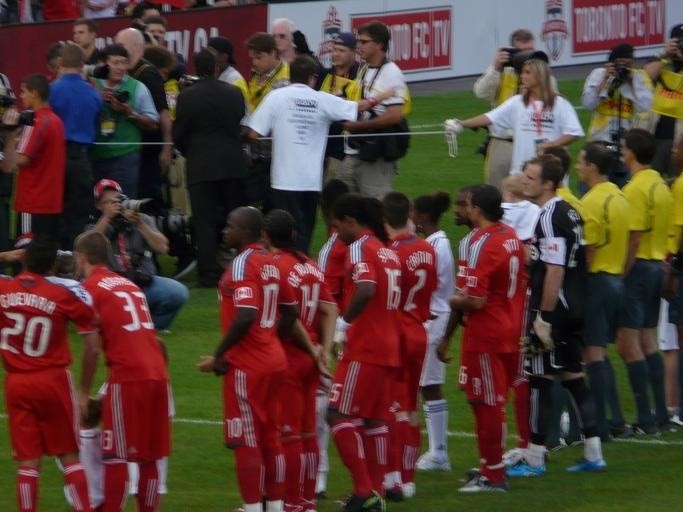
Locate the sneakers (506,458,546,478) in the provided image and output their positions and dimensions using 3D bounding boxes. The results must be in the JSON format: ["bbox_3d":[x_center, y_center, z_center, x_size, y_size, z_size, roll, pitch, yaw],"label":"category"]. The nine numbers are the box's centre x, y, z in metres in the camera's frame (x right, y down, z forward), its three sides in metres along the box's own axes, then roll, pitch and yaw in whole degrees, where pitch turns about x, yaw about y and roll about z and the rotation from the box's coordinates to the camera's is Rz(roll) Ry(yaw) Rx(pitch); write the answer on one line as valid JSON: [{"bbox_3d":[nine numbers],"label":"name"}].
[{"bbox_3d":[1.604,1.845,13.354,0.382,0.154,0.135,2,-4,-1],"label":"sneakers"}]

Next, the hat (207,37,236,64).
[{"bbox_3d":[-1.371,-2.314,17.107,0.356,0.252,0.237,16,6,-18],"label":"hat"}]

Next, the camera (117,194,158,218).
[{"bbox_3d":[-2.022,-0.500,14.773,0.297,0.118,0.167,3,6,16],"label":"camera"}]

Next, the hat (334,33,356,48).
[{"bbox_3d":[0.032,-2.319,16.457,0.232,0.207,0.300,-2,-1,0],"label":"hat"}]

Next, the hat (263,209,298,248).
[{"bbox_3d":[-0.540,-0.191,12.708,0.245,0.372,0.250,-7,23,-6],"label":"hat"}]

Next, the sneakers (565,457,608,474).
[{"bbox_3d":[2.155,1.811,13.398,0.370,0.139,0.133,1,3,10],"label":"sneakers"}]

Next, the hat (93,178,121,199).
[{"bbox_3d":[-2.328,-0.666,14.850,0.300,0.228,0.220,-1,10,2],"label":"hat"}]

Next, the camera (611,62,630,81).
[{"bbox_3d":[2.976,-1.958,16.254,0.182,0.203,0.183,-2,-1,30],"label":"camera"}]

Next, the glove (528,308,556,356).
[{"bbox_3d":[1.705,0.639,13.166,0.138,0.308,0.251,2,4,-4],"label":"glove"}]

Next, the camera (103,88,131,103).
[{"bbox_3d":[-2.348,-1.695,16.138,0.193,0.089,0.140,4,12,11],"label":"camera"}]
